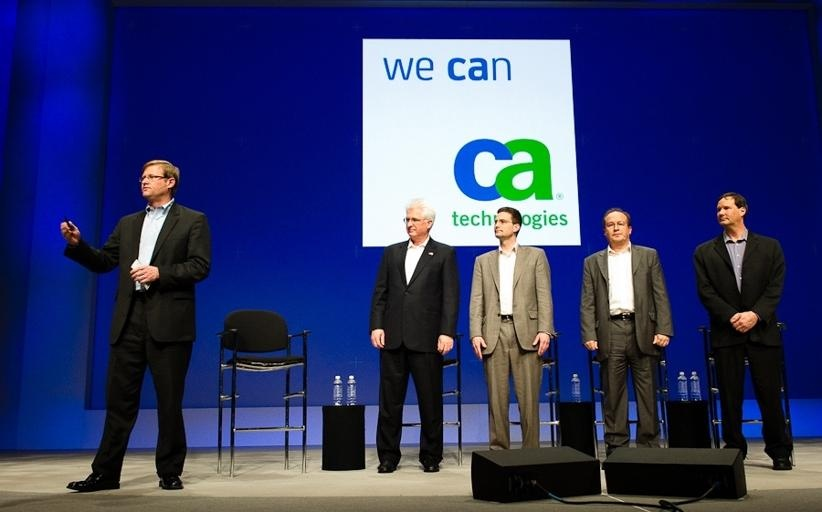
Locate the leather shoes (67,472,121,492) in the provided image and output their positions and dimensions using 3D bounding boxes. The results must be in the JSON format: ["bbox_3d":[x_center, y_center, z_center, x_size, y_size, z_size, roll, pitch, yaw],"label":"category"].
[{"bbox_3d":[-2.699,1.938,6.390,0.449,0.169,0.160,8,-12,-18],"label":"leather shoes"}]

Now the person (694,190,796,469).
[{"bbox_3d":[3.232,0.699,7.178,0.814,2.626,0.480,-5,-14,15],"label":"person"}]

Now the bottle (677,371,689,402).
[{"bbox_3d":[3.195,1.510,8.750,0.132,0.335,0.470,-6,-14,19],"label":"bottle"}]

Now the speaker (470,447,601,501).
[{"bbox_3d":[0.990,1.751,5.932,0.894,0.416,0.310,1,-12,-14],"label":"speaker"}]

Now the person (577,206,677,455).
[{"bbox_3d":[2.123,0.703,7.364,0.862,2.366,0.389,-4,-14,12],"label":"person"}]

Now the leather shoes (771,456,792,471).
[{"bbox_3d":[3.472,1.925,6.907,0.287,0.107,0.150,5,-15,-25],"label":"leather shoes"}]

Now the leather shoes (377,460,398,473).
[{"bbox_3d":[-0.228,2.008,7.089,0.078,0.091,0.227,0,-3,15],"label":"leather shoes"}]

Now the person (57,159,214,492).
[{"bbox_3d":[-2.285,0.578,6.538,0.849,2.846,0.601,5,-15,-22],"label":"person"}]

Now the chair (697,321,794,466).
[{"bbox_3d":[3.456,1.427,7.658,0.852,1.404,0.887,-7,-11,33],"label":"chair"}]

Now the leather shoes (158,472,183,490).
[{"bbox_3d":[-2.056,1.944,6.377,0.095,0.092,0.220,11,-20,-37],"label":"leather shoes"}]

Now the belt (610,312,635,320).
[{"bbox_3d":[2.082,0.595,7.329,0.222,0.073,0.031,-5,-14,17],"label":"belt"}]

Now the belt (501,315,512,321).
[{"bbox_3d":[0.928,0.596,7.195,0.107,0.057,0.024,-2,-14,3],"label":"belt"}]

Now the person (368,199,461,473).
[{"bbox_3d":[0.031,0.779,7.332,0.789,2.597,0.556,-12,-17,37],"label":"person"}]

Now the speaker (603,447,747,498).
[{"bbox_3d":[2.094,1.737,5.931,1.040,0.387,0.365,-5,-11,12],"label":"speaker"}]

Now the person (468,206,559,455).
[{"bbox_3d":[0.971,0.677,7.250,0.800,2.304,0.433,-1,-14,2],"label":"person"}]
